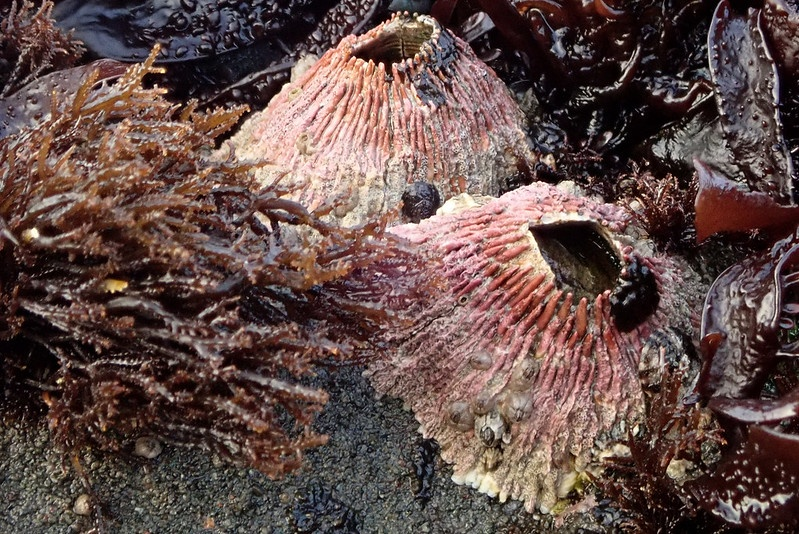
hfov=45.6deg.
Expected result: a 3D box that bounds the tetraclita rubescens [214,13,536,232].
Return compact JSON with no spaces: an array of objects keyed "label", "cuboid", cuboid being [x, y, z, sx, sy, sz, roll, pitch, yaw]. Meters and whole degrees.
[{"label":"tetraclita rubescens","cuboid":[-0.045,-0.669,4.321,1.121,0.545,1.155,5,32,5]}]
